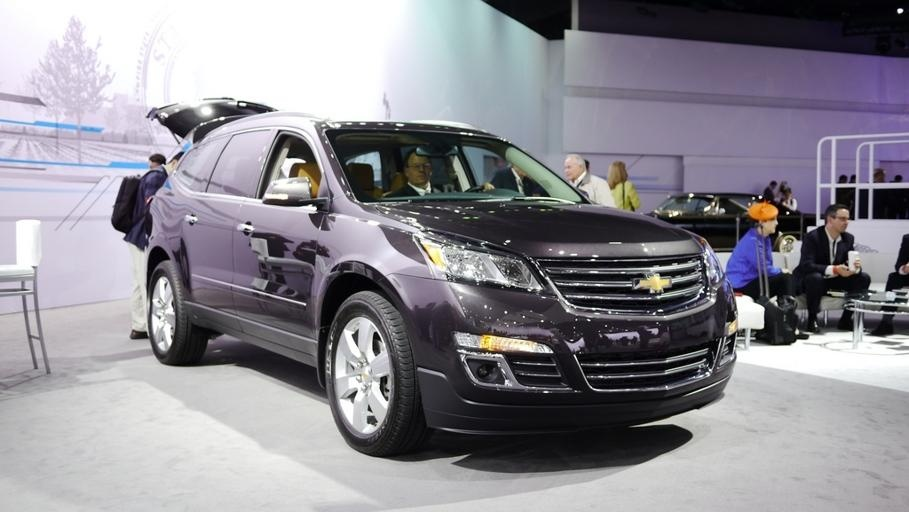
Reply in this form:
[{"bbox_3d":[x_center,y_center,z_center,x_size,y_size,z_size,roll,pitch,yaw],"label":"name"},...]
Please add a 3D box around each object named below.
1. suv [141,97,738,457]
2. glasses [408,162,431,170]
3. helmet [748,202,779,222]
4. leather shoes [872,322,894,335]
[{"bbox_3d":[-0.890,0.052,4.846,2.630,2.151,5.568,-1,4,-43],"label":"suv"},{"bbox_3d":[-0.311,-0.836,4.587,0.110,0.036,0.139,-2,1,-21],"label":"glasses"},{"bbox_3d":[4.521,-0.644,7.239,0.324,0.260,0.517,3,6,26],"label":"helmet"},{"bbox_3d":[6.426,1.091,7.524,0.230,0.125,0.351,-9,-10,-7],"label":"leather shoes"}]
